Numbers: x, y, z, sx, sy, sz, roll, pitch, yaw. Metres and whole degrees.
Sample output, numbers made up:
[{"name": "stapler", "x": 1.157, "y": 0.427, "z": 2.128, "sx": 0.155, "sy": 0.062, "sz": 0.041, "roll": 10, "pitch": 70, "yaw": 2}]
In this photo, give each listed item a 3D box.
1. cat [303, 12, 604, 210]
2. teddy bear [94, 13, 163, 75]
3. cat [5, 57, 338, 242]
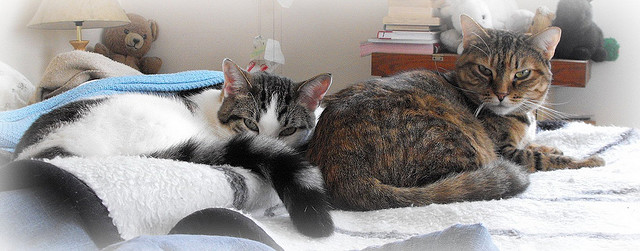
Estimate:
[{"name": "cat", "x": 0.976, "y": -0.098, "z": 3.785, "sx": 2.195, "sy": 0.813, "sz": 1.150, "roll": -9, "pitch": 11, "yaw": -12}, {"name": "teddy bear", "x": -1.994, "y": -0.854, "z": 5.443, "sx": 0.704, "sy": 0.599, "sz": 0.412, "roll": -5, "pitch": 19, "yaw": -23}, {"name": "cat", "x": -0.927, "y": 0.187, "z": 3.542, "sx": 2.046, "sy": 0.551, "sz": 1.248, "roll": 4, "pitch": 21, "yaw": 2}]
